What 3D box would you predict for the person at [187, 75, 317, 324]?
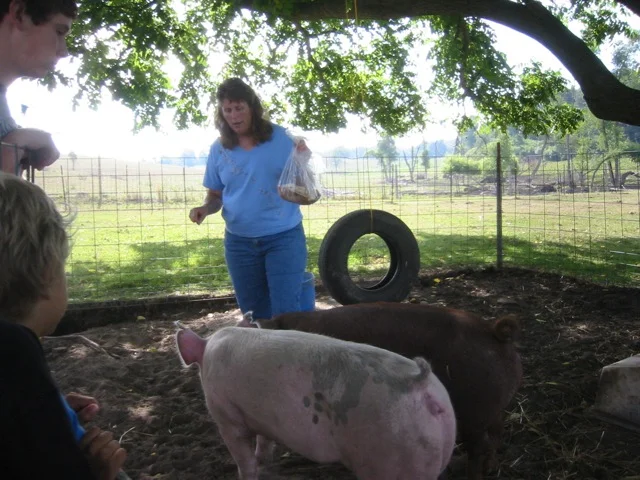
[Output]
[{"bbox_3d":[-0.519,-0.296,4.045,0.835,1.799,0.453,-1,5,19],"label":"person"}]
